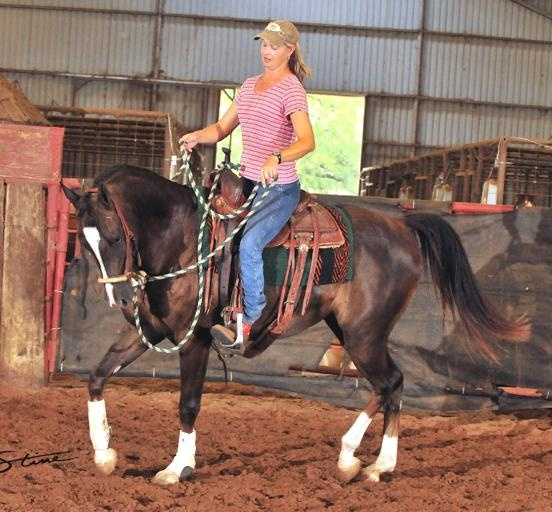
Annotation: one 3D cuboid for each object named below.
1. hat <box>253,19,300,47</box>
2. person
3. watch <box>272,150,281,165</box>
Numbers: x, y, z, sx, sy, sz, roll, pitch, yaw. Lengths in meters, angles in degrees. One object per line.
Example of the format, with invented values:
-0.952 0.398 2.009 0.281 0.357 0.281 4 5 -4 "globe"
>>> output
0.021 -1.912 8.877 0.336 0.148 0.230 2 21 -36 "hat"
-0.148 -0.606 9.025 0.822 3.009 0.890 2 8 -28 "person"
0.021 -0.835 8.633 0.073 0.087 0.098 -8 43 -23 "watch"
